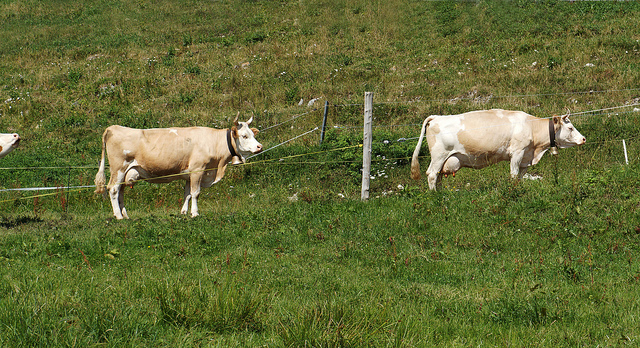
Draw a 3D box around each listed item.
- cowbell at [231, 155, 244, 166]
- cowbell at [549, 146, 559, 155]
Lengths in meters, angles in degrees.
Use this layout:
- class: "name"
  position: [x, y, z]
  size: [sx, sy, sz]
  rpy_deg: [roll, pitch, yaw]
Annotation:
- class: "cowbell"
  position: [-4.303, -0.696, 54.628]
  size: [0.515, 0.543, 0.517]
  rpy_deg: [-1, -3, -36]
- class: "cowbell"
  position: [12.698, -1.230, 54.869]
  size: [0.504, 0.545, 0.505]
  rpy_deg: [-5, 4, -17]
